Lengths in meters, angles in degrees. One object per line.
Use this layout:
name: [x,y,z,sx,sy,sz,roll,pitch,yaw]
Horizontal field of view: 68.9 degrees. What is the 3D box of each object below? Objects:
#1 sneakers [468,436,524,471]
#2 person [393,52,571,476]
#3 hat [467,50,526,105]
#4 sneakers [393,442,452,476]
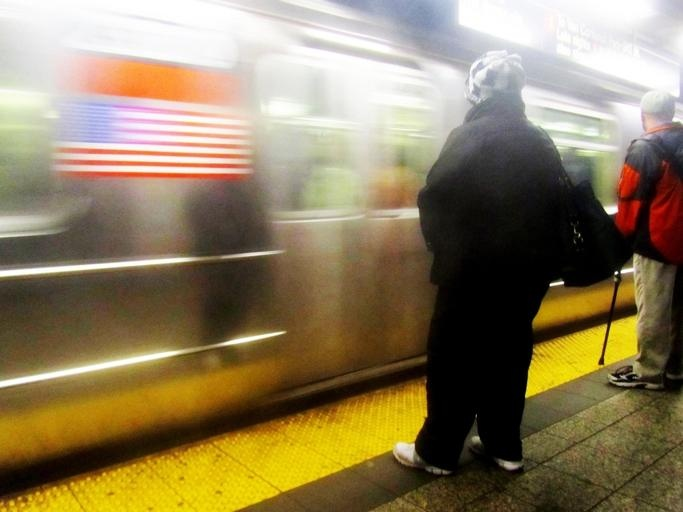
sneakers: [0.885,1.176,2.896,0.120,0.132,0.335,-7,14,-27]
person: [0.772,0.057,2.767,0.896,2.318,0.431,-2,11,2]
hat: [0.846,-0.983,2.759,0.280,0.315,0.344,-11,25,-39]
sneakers: [0.457,1.161,2.905,0.321,0.143,0.135,13,11,42]
